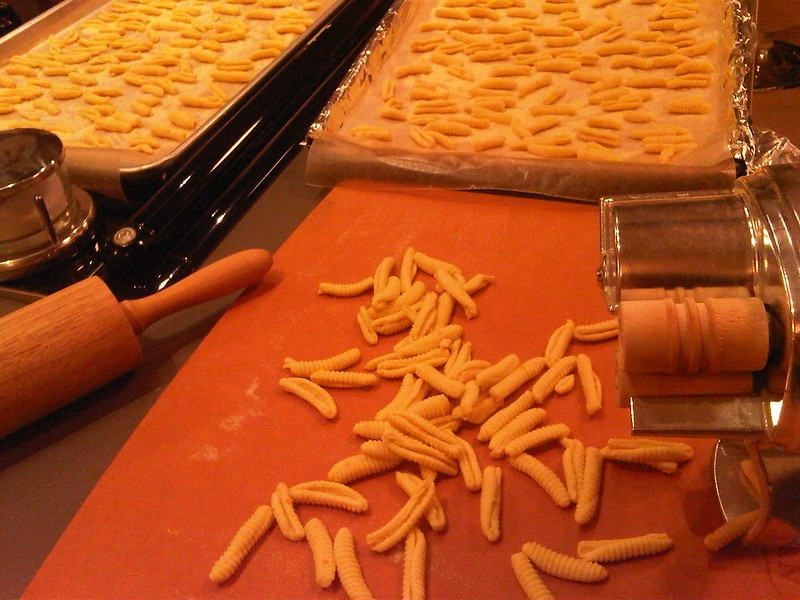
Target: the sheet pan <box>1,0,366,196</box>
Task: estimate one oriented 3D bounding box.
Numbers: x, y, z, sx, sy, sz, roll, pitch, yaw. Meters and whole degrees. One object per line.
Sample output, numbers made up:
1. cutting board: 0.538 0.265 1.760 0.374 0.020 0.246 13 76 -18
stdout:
1. sheet pan: -0.486 -0.739 2.063 0.693 0.167 1.174 17 54 27
